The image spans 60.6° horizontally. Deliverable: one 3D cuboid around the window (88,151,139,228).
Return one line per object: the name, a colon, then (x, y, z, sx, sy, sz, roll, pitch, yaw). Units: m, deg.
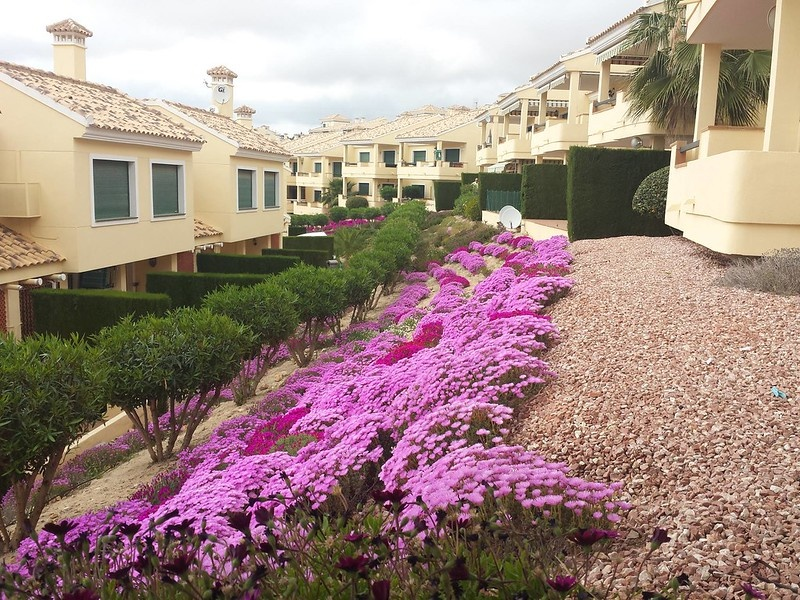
window: (-7.362, -2.875, 17.478, 0.243, 2.620, 1.760, 0, 8, 20)
